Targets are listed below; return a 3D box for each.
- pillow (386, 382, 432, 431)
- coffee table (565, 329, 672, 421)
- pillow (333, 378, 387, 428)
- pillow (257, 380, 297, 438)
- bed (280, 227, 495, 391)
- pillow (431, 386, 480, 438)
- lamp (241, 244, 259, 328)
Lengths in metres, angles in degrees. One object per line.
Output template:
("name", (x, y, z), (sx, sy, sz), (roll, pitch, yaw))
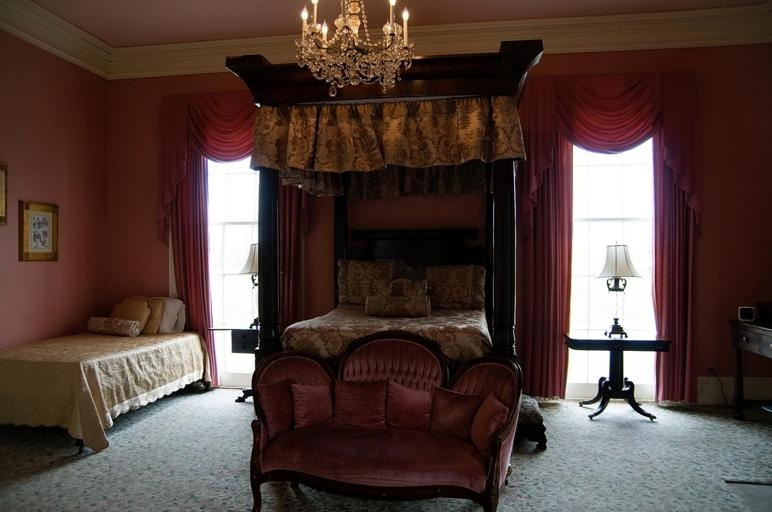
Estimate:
("pillow", (0.213, 1.480, 5.829), (0.377, 0.355, 0.144), (4, -11, 8))
("coffee table", (2.847, 1.404, 7.527), (1.057, 0.961, 1.087), (0, -6, 7))
("pillow", (-0.258, 1.457, 5.863), (0.382, 0.336, 0.134), (1, -13, 9))
("pillow", (-1.054, 1.464, 5.724), (0.447, 0.425, 0.132), (5, -17, -39))
("bed", (0.215, 0.476, 6.923), (1.762, 1.422, 1.804), (-1, -5, 17))
("pillow", (0.641, 1.484, 5.649), (0.421, 0.410, 0.130), (-3, -12, 20))
("lamp", (-1.872, 0.395, 8.155), (0.214, 1.147, 0.675), (-1, 0, -11))
